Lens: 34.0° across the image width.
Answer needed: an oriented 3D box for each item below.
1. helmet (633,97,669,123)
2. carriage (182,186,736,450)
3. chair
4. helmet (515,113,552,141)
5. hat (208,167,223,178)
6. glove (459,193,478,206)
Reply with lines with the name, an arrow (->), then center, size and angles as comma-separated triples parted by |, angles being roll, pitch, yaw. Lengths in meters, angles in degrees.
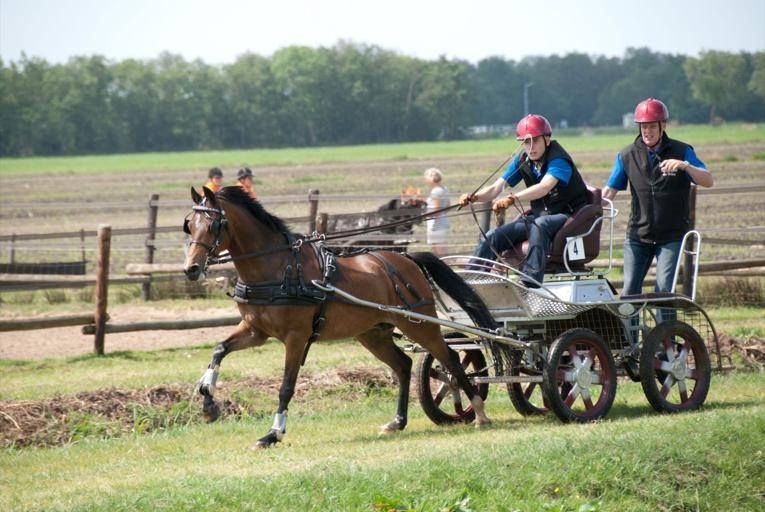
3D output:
helmet -> 4.557, -2.444, 21.304 | 0.512, 0.411, 0.618 | -1, 5, 9
carriage -> 0.981, 1.109, 21.741 | 9.900, 4.010, 3.938 | 2, -10, -33
chair -> 2.888, -0.240, 21.401 | 1.669, 1.143, 1.568 | 1, 17, 4
helmet -> 2.580, -2.140, 21.058 | 0.556, 0.291, 0.408 | -1, 0, -39
hat -> -3.602, -1.854, 27.454 | 0.346, 0.203, 0.434 | 0, -4, -11
glove -> 1.450, -0.920, 20.618 | 0.197, 0.087, 0.254 | -3, 6, 32
